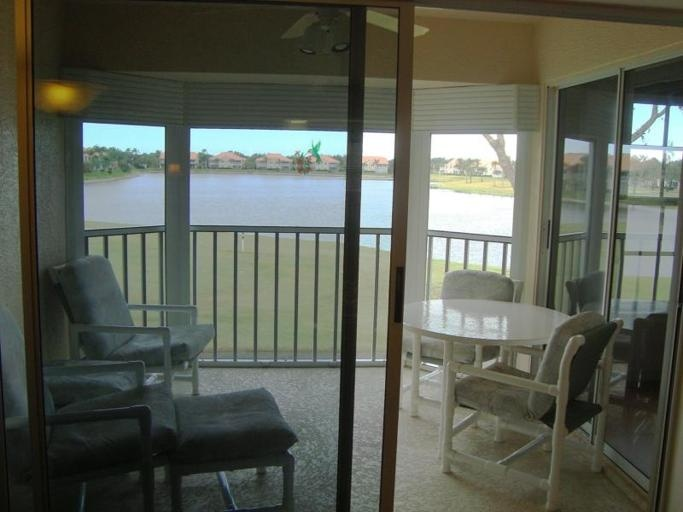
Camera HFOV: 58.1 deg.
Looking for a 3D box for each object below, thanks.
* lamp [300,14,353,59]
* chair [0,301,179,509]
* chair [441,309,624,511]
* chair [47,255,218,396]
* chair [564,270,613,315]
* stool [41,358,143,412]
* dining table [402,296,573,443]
[{"bbox_3d":[-0.070,-0.942,2.628,0.205,0.153,0.081,4,34,0],"label":"lamp"},{"bbox_3d":[-1.094,0.600,3.001,0.897,1.124,0.670,0,5,-12],"label":"chair"},{"bbox_3d":[1.086,0.670,3.664,1.010,1.349,0.933,5,6,40],"label":"chair"},{"bbox_3d":[-0.978,0.263,2.667,0.723,0.731,0.451,0,6,-1],"label":"chair"},{"bbox_3d":[1.525,0.228,3.851,0.219,0.235,0.199,-6,3,-29],"label":"chair"},{"bbox_3d":[-1.094,0.537,2.665,0.302,0.134,0.227,1,0,-12],"label":"stool"},{"bbox_3d":[0.769,0.472,3.591,0.848,0.638,0.870,6,12,26],"label":"dining table"}]
